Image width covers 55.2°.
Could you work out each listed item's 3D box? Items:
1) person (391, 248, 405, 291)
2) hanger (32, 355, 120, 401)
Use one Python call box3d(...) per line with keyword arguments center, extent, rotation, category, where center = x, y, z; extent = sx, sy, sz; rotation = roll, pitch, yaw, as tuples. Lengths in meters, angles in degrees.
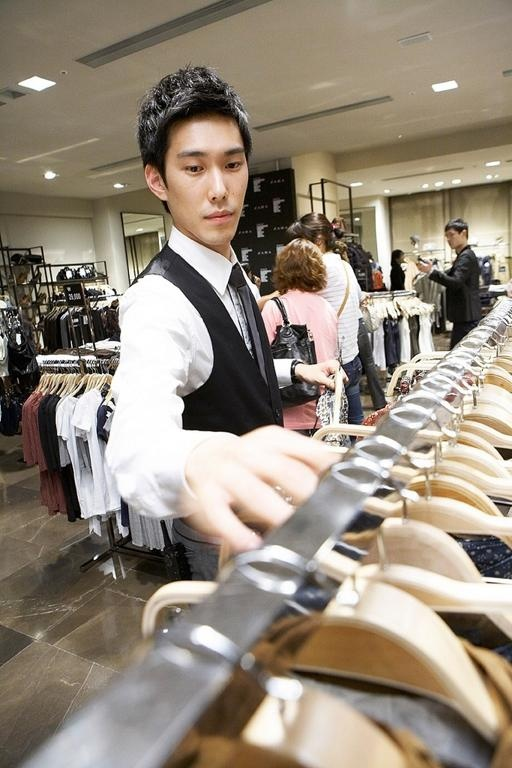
box3d(center=(2.593, -2.103, 9.012), extent=(0.260, 0.713, 0.665), rotation=(-3, 12, 16), category="person")
box3d(center=(-1.039, -0.038, 2.863), extent=(0.386, 0.098, 0.269), rotation=(4, 19, 0), category="hanger")
